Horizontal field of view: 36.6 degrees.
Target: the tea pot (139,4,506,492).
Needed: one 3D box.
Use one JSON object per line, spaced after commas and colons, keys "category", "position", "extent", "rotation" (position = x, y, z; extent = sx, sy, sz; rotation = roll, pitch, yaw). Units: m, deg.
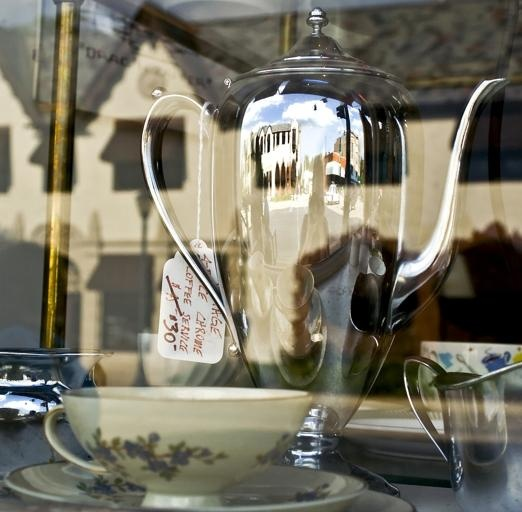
{"category": "tea pot", "position": [0.003, -0.025, 0.656], "extent": [0.289, 0.380, 0.174], "rotation": [-1, 0, -14]}
